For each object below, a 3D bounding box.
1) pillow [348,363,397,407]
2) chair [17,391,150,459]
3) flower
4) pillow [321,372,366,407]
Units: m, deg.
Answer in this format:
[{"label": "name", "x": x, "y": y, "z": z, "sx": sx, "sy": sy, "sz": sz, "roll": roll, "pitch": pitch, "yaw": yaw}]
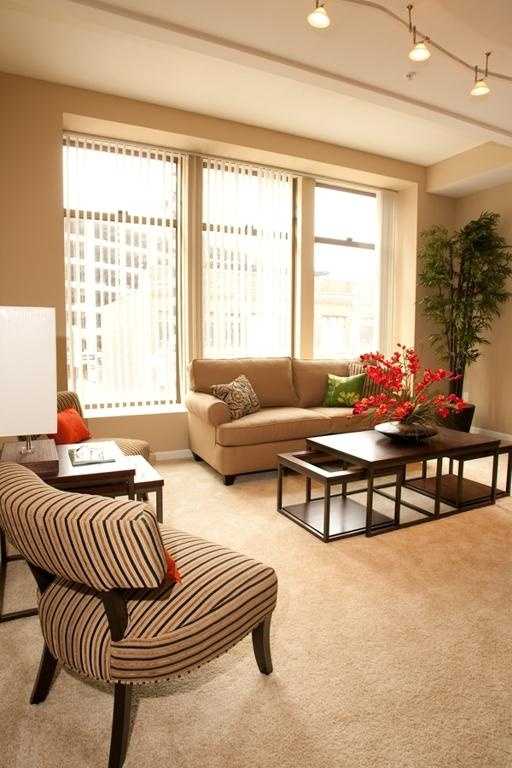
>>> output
[{"label": "pillow", "x": 0.804, "y": 0.018, "z": 3.945, "sx": 0.302, "sy": 0.313, "sz": 0.095, "roll": 9, "pitch": -11, "yaw": -4}, {"label": "chair", "x": -0.901, "y": 0.240, "z": 3.341, "sx": 0.531, "sy": 0.579, "sz": 0.336, "roll": -1, "pitch": 2, "yaw": -8}, {"label": "flower", "x": 0.900, "y": 0.093, "z": 3.383, "sx": 0.536, "sy": 0.444, "sz": 0.596, "roll": 4, "pitch": -11, "yaw": -28}, {"label": "pillow", "x": 0.728, "y": 0.054, "z": 4.721, "sx": 0.240, "sy": 0.253, "sz": 0.092, "roll": 4, "pitch": -22, "yaw": 11}]
